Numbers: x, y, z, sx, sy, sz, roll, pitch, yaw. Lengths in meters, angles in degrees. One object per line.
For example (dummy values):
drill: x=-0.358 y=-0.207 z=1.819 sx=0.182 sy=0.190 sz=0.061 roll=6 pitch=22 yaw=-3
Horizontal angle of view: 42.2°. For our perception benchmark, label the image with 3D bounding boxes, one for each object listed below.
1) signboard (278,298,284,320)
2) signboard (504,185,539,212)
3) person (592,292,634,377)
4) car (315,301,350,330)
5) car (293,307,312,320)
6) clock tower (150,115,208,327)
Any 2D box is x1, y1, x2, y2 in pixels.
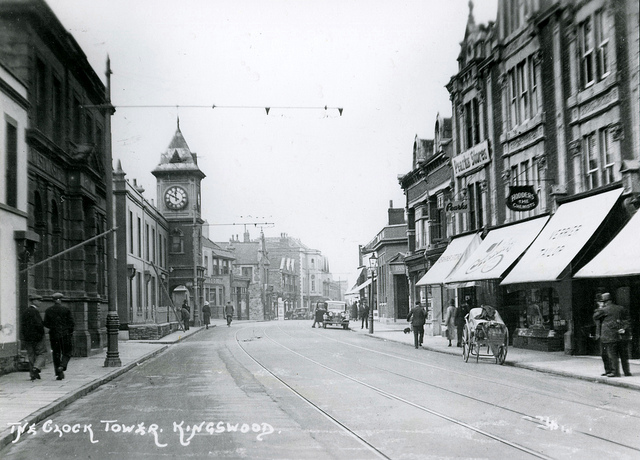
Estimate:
signboard: x=-4.558 y=9.190 z=97.750 sx=0.562 sy=2.578 sz=1.748 roll=1 pitch=-11 yaw=-7
signboard: x=7.876 y=-1.243 z=32.011 sx=1.194 sy=1.111 sz=0.217 roll=0 pitch=-10 yaw=1
person: x=8.855 y=3.121 z=24.832 sx=0.922 sy=2.488 sz=0.625 roll=1 pitch=-10 yaw=-5
car: x=0.915 y=6.059 z=60.827 sx=1.439 sy=1.381 sz=2.729 roll=1 pitch=-16 yaw=-6
car: x=-2.387 y=10.499 z=104.542 sx=1.260 sy=1.245 sz=2.210 roll=-4 pitch=-17 yaw=10
clock tower: x=-12.281 y=-0.380 z=73.400 sx=4.561 sy=17.256 sz=4.468 roll=-1 pitch=4 yaw=-8
